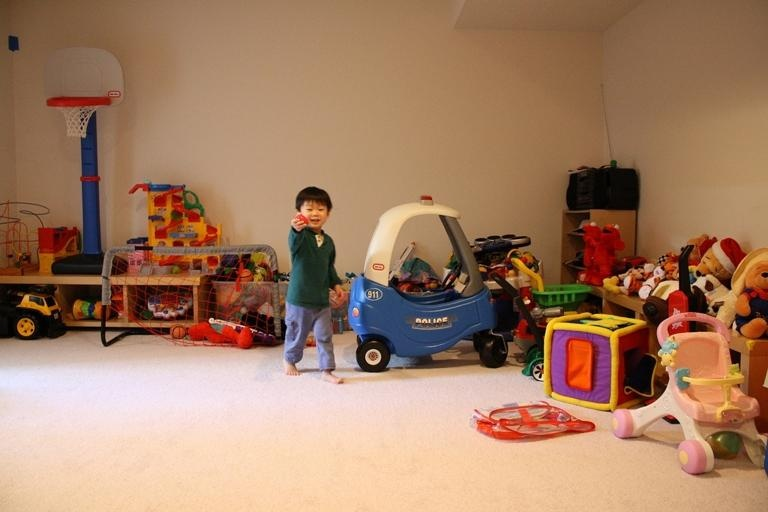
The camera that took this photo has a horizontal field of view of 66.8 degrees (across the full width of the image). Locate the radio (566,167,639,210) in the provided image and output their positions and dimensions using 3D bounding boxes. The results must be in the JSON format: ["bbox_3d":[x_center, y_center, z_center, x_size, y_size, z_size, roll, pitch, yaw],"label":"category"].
[{"bbox_3d":[1.862,-0.597,5.121,0.466,0.365,0.655,1,6,-23],"label":"radio"}]
